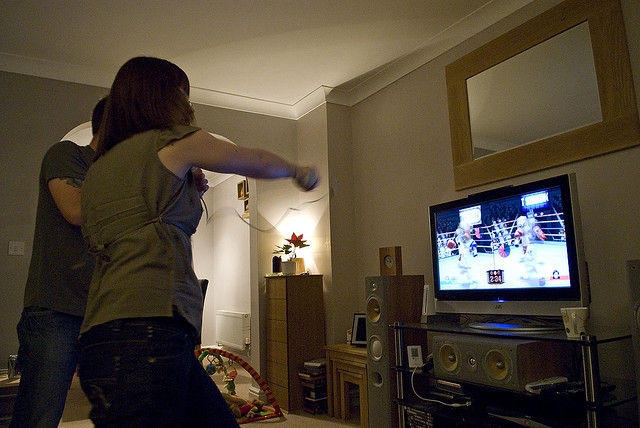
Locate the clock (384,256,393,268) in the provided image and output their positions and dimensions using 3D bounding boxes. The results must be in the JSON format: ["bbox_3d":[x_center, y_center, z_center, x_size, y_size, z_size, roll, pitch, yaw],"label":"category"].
[{"bbox_3d":[0.550,0.386,3.879,0.017,0.074,0.070,1,-1,-39],"label":"clock"}]

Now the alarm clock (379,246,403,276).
[{"bbox_3d":[0.574,0.381,3.866,0.075,0.237,0.226,1,-2,-30],"label":"alarm clock"}]

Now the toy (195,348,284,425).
[{"bbox_3d":[-0.789,1.518,4.321,0.699,0.608,0.837,7,-14,-37],"label":"toy"}]

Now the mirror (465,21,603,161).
[{"bbox_3d":[1.516,-0.862,3.295,0.041,0.822,0.943,4,-15,-34],"label":"mirror"}]

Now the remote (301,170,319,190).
[{"bbox_3d":[-0.041,-0.138,1.843,0.015,0.066,0.070,37,15,-9],"label":"remote"}]

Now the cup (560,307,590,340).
[{"bbox_3d":[1.458,0.641,2.751,0.149,0.197,0.164,7,-11,20],"label":"cup"}]

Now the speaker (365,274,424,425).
[{"bbox_3d":[0.563,1.006,3.537,0.456,1.089,0.238,-4,-11,10],"label":"speaker"}]

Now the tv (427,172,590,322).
[{"bbox_3d":[1.257,0.238,3.107,0.103,0.801,0.971,5,-11,-36],"label":"tv"}]

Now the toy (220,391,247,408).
[{"bbox_3d":[-0.761,1.654,4.238,0.203,0.097,0.269,1,-11,-13],"label":"toy"}]
